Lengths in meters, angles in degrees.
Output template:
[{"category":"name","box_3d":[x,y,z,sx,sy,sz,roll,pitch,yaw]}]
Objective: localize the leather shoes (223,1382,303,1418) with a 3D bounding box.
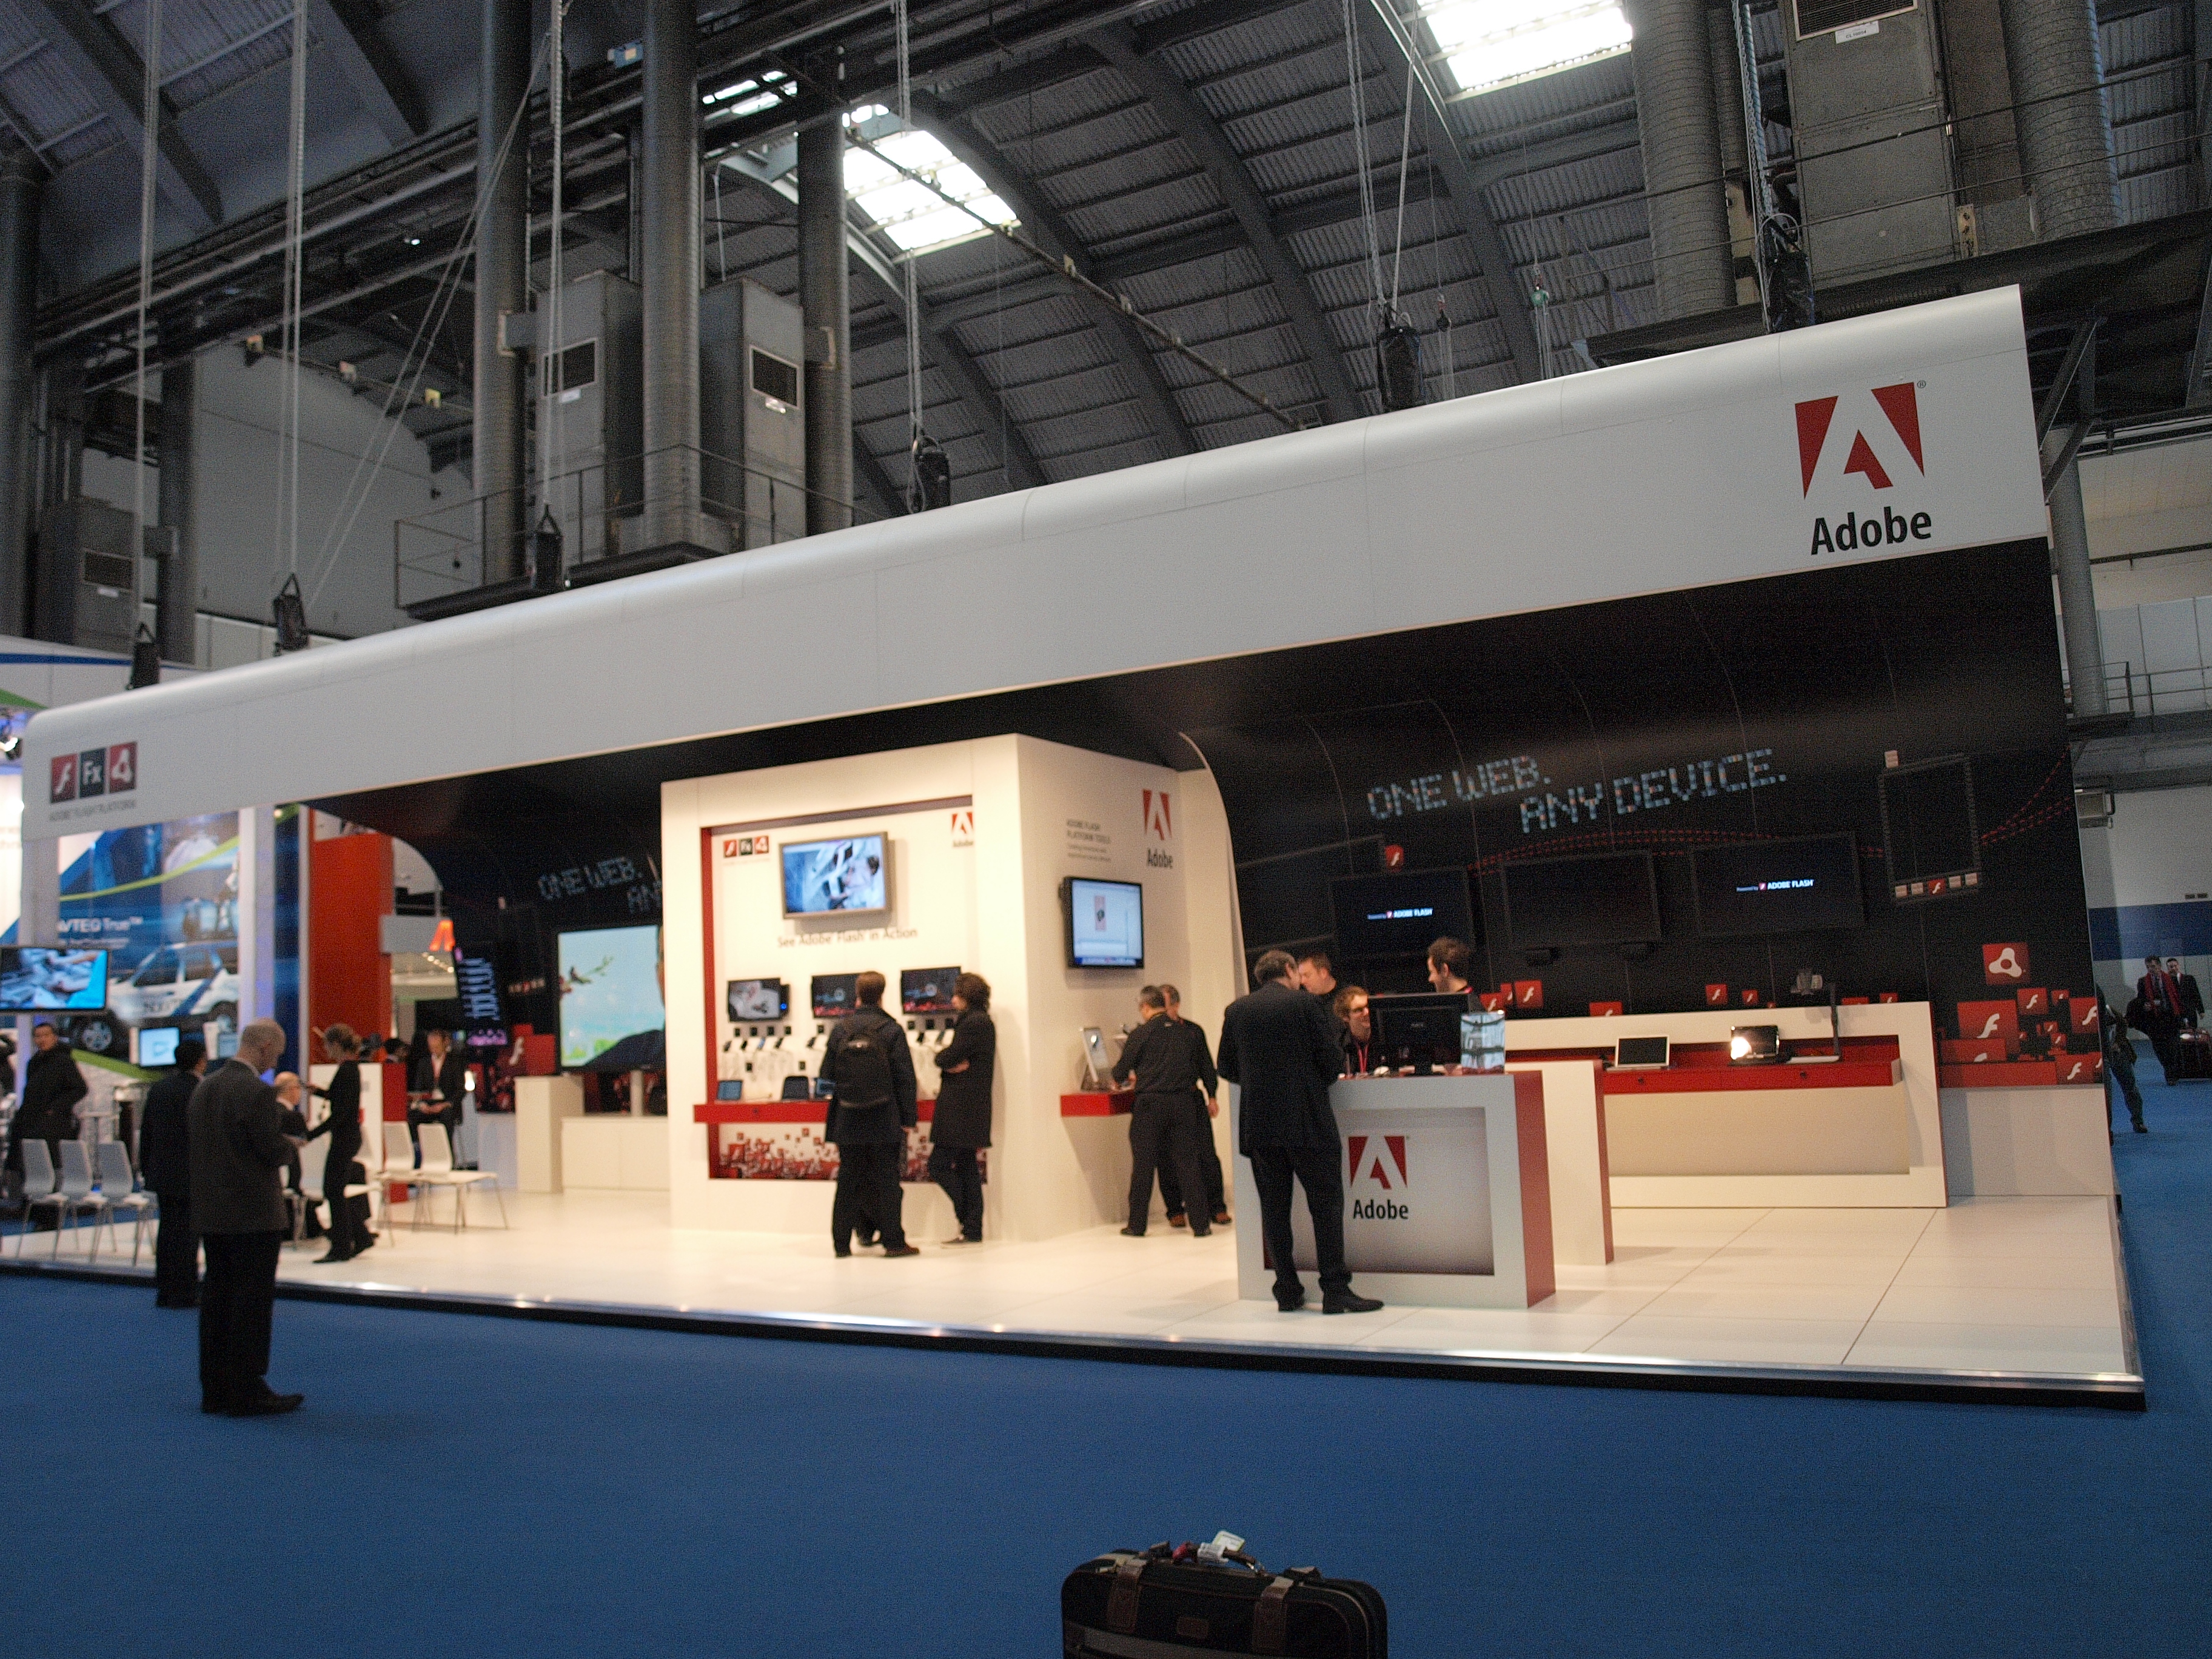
[{"category":"leather shoes","box_3d":[-3.476,2.351,7.468,0.300,0.148,0.107,0,-3,-13]}]

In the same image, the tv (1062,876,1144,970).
[{"category":"tv","box_3d":[-0.003,0.582,10.979,0.178,0.662,0.874,-1,5,26]}]

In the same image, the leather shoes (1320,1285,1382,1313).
[{"category":"leather shoes","box_3d":[1.087,2.066,7.950,0.264,0.099,0.234,-3,5,9]}]

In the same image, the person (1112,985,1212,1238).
[{"category":"person","box_3d":[0.348,1.597,10.161,0.548,1.458,0.627,-3,4,3]}]

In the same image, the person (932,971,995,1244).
[{"category":"person","box_3d":[-0.794,1.572,10.195,0.406,1.520,0.402,-4,4,-7]}]

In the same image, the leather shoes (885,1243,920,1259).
[{"category":"leather shoes","box_3d":[-1.115,2.310,9.896,0.178,0.143,0.074,-1,-8,-4]}]

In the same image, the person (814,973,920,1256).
[{"category":"person","box_3d":[-1.306,1.592,10.033,0.509,1.573,0.524,-3,4,4]}]

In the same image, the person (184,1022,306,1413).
[{"category":"person","box_3d":[-3.629,1.652,7.567,0.426,1.574,0.596,-5,4,-23]}]

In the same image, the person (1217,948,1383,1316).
[{"category":"person","box_3d":[0.860,1.412,8.038,0.637,1.404,0.319,0,5,36]}]
